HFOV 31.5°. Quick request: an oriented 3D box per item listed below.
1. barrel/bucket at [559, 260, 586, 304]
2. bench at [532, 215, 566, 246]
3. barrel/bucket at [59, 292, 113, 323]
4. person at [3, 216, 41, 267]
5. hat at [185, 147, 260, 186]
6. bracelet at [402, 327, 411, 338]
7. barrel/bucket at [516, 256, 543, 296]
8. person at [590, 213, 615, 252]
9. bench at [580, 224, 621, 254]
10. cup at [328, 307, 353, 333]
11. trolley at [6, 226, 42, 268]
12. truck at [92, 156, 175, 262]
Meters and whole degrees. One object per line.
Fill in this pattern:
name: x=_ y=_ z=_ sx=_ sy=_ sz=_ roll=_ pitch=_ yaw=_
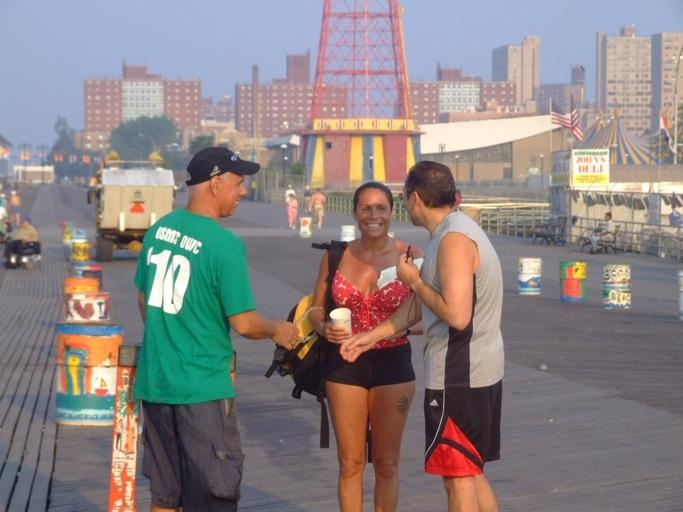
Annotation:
barrel/bucket: x=4.408 y=0.532 z=23.254 sx=0.468 sy=0.736 sz=0.477 roll=-1 pitch=3 yaw=0
bench: x=7.016 y=-0.865 z=40.995 sx=0.940 sy=1.397 sz=1.143 roll=-2 pitch=-5 yaw=35
barrel/bucket: x=-3.133 y=0.648 z=15.019 sx=0.535 sy=0.363 sz=0.479 roll=-2 pitch=3 yaw=-16
person: x=-7.823 y=-0.268 z=30.051 sx=0.640 sy=0.951 sz=1.534 roll=0 pitch=13 yaw=-8
hat: x=-1.097 y=-0.866 z=10.997 sx=0.500 sy=0.285 sz=0.364 roll=-8 pitch=10 yaw=-9
bracelet: x=0.638 y=0.767 z=11.810 sx=0.028 sy=0.088 sz=0.062 roll=19 pitch=4 yaw=-35
barrel/bucket: x=3.848 y=0.434 z=24.922 sx=0.469 sy=0.725 sz=0.941 roll=-1 pitch=3 yaw=8
person: x=7.882 y=-0.657 z=36.795 sx=0.763 sy=1.158 sz=1.784 roll=0 pitch=3 yaw=12
bench: x=7.739 y=-0.458 z=36.655 sx=0.993 sy=1.060 sz=0.785 roll=0 pitch=0 yaw=-37
cup: x=0.001 y=0.673 z=11.564 sx=0.200 sy=0.226 sz=0.213 roll=-15 pitch=26 yaw=7
trolley: x=-7.812 y=-0.243 z=29.812 sx=0.795 sy=1.118 sz=1.064 roll=-2 pitch=3 yaw=-12
truck: x=-5.886 y=-1.341 z=33.748 sx=2.269 sy=2.837 sz=3.751 roll=1 pitch=5 yaw=-19
